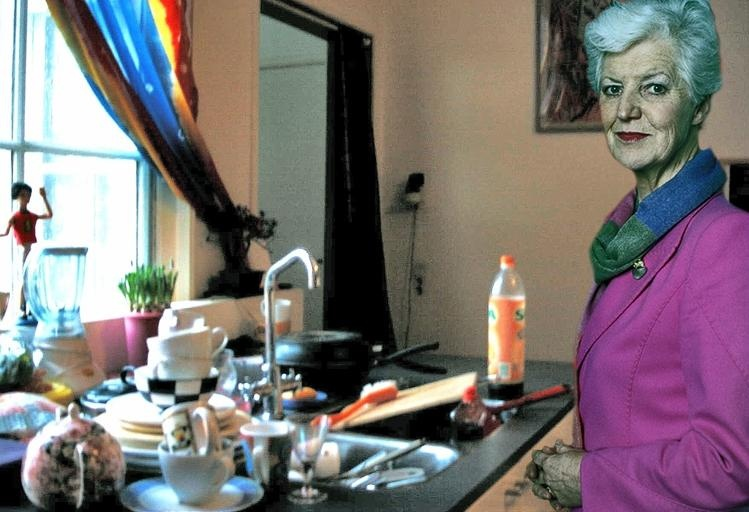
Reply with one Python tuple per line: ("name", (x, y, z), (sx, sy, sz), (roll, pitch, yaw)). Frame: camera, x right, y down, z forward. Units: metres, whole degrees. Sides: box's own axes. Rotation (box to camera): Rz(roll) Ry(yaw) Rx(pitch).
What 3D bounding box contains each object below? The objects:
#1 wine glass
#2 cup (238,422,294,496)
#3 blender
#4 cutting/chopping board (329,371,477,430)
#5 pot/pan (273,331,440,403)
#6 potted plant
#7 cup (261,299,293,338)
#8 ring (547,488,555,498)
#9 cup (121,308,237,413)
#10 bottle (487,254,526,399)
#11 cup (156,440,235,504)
("wine glass", (-0.110, 0.342, 1.158), (0.092, 0.148, 0.102), (1, -13, -3))
("cup", (-0.175, 0.328, 1.130), (0.095, 0.108, 0.107), (-2, -5, 0))
("blender", (-0.689, 0.133, 1.528), (0.149, 0.250, 0.221), (-2, 1, -27))
("cutting/chopping board", (0.081, 0.313, 1.485), (0.225, 0.018, 0.131), (-18, 4, 20))
("pot/pan", (-0.055, 0.224, 1.589), (0.289, 0.107, 0.181), (0, -1, 24))
("potted plant", (-0.637, 0.164, 1.927), (0.143, 0.272, 0.115), (0, -3, -5))
("cup", (-0.276, 0.168, 1.878), (0.106, 0.106, 0.072), (5, 17, 7))
("ring", (0.275, 0.370, 1.081), (0.005, 0.015, 0.006), (-35, -45, 15))
("cup", (-0.347, 0.217, 1.359), (0.153, 0.189, 0.210), (-1, -10, 17))
("bottle", (0.306, 0.162, 1.598), (0.088, 0.328, 0.172), (-1, 1, 11))
("cup", (-0.277, 0.332, 1.083), (0.102, 0.070, 0.087), (-1, -9, 19))
